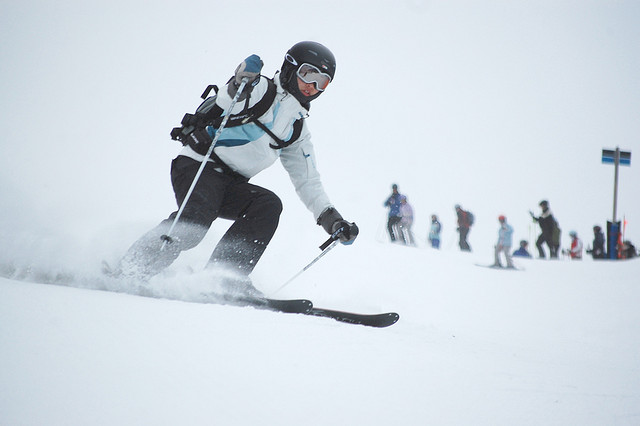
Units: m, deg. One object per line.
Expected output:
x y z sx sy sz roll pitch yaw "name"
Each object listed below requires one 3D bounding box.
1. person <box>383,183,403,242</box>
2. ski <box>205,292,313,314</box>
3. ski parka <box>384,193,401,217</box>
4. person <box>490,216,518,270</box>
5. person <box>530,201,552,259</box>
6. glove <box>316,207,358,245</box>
1.032 -0.013 10.590 0.265 0.792 0.094 7 10 4 "person"
-0.568 0.792 6.548 0.931 0.142 0.073 5 -20 -6 "ski"
1.033 -0.115 10.573 0.246 0.453 0.162 3 -23 12 "ski parka"
2.459 0.351 9.748 0.324 0.625 0.961 9 11 14 "person"
3.127 0.219 10.305 0.244 0.757 0.105 5 10 -3 "person"
0.161 0.104 6.836 0.416 0.412 0.214 1 0 -9 "glove"
